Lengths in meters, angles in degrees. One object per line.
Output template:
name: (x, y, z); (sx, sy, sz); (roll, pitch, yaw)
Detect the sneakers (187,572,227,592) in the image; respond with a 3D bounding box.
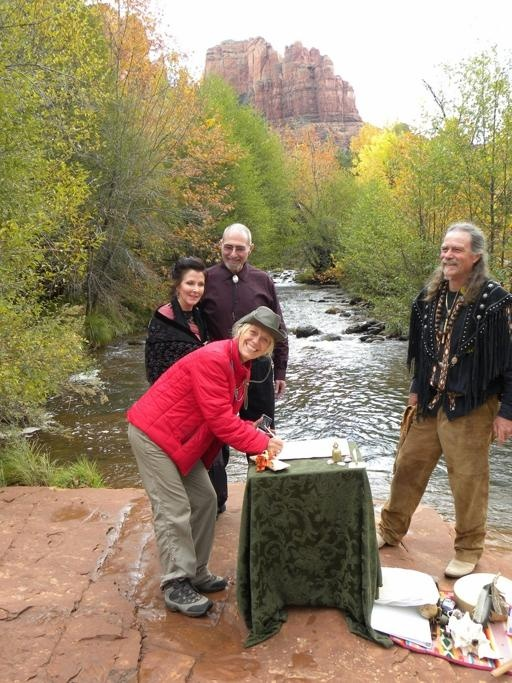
sneakers: (-0.265, 1.386, 3.206); (0.244, 0.107, 0.080); (0, 12, -20)

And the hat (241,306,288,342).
hat: (0.073, -0.109, 2.859); (0.228, 0.172, 0.087); (19, 57, 24)

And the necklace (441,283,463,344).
necklace: (1.201, -0.142, 3.408); (0.086, 0.248, 0.186); (1, 1, -14)

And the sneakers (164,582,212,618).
sneakers: (-0.359, 1.368, 2.958); (0.275, 0.167, 0.151); (-3, -2, 16)

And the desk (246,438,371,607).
desk: (0.278, 1.007, 3.062); (0.776, 0.651, 0.733); (-1, 1, 1)
